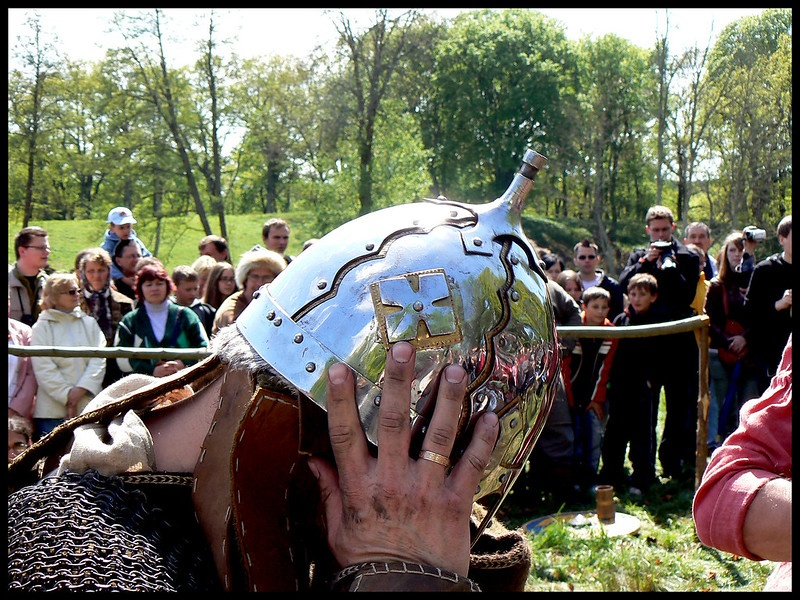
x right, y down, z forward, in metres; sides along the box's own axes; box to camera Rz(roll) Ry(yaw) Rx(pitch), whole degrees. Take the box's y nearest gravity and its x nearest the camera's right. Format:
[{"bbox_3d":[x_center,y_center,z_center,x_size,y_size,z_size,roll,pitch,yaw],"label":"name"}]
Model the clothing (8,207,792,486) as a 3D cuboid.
[{"bbox_3d":[-0.322,0.503,9.065,2.851,1.420,2.460,26,6,0],"label":"clothing"}]
